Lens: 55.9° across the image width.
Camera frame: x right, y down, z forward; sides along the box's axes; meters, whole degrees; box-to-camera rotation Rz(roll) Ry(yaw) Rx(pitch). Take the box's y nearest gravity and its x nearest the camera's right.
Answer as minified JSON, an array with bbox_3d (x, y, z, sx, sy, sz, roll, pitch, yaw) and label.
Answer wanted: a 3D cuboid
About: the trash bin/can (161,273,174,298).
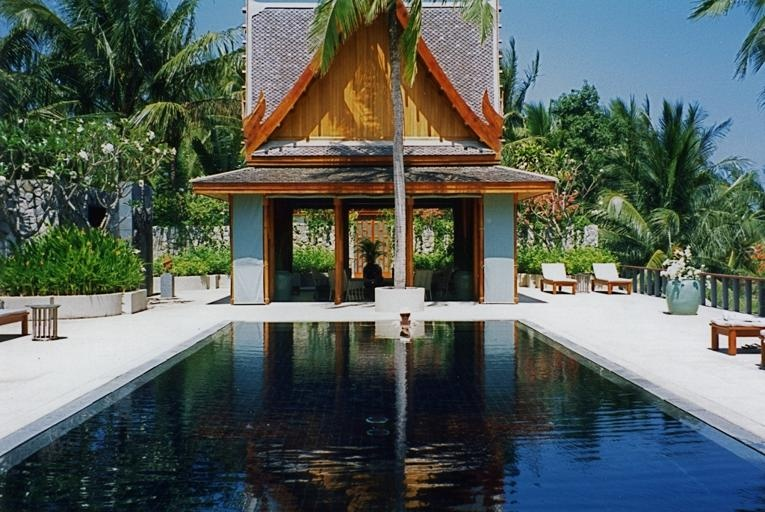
[{"bbox_3d":[-7.755,1.094,26.027,0.473,0.910,0.451,-11,16,-38],"label":"trash bin/can"}]
